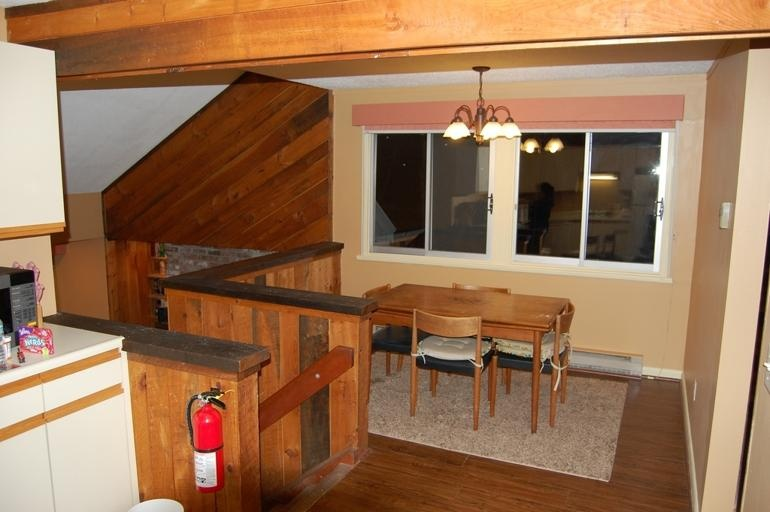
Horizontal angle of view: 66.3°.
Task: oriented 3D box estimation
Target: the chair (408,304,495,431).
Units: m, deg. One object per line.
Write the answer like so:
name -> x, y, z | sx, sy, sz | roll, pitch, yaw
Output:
chair -> 0.553, 0.867, 4.794 | 0.675, 0.916, 0.704 | 4, 6, 12

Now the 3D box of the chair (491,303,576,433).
chair -> 1.217, 0.855, 4.884 | 0.595, 0.960, 0.769 | 5, 6, 16

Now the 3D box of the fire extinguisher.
fire extinguisher -> -0.946, 0.972, 3.128 | 0.206, 0.551, 0.158 | 2, 7, -8

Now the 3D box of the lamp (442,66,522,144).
lamp -> 0.769, -1.212, 4.718 | 0.733, 0.595, 0.703 | -10, 16, -34
